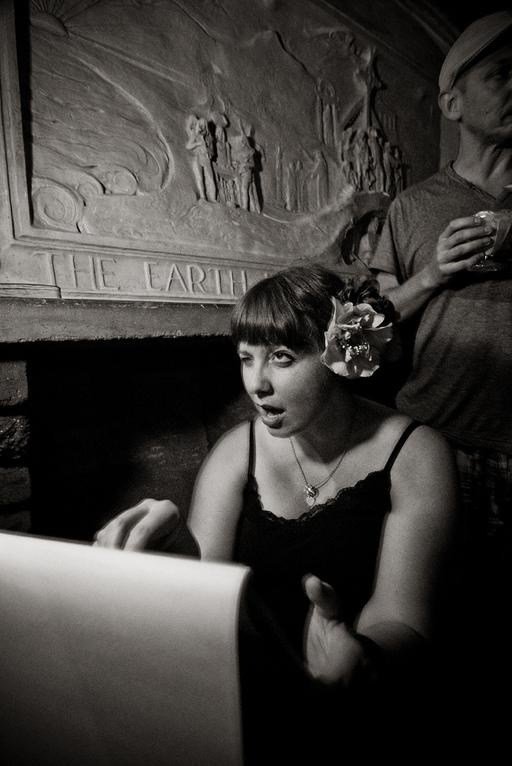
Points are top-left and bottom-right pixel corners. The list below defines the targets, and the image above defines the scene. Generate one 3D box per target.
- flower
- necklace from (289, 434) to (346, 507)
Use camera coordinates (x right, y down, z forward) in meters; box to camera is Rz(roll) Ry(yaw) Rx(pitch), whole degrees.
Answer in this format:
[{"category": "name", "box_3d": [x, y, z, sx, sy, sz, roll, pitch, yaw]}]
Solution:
[{"category": "flower", "box_3d": [0.160, -0.074, 1.065, 0.142, 0.124, 0.057, -8, 17, -38]}, {"category": "necklace", "box_3d": [0.101, 0.175, 1.181, 0.104, 0.016, 0.124, 35, 35, -18]}]
